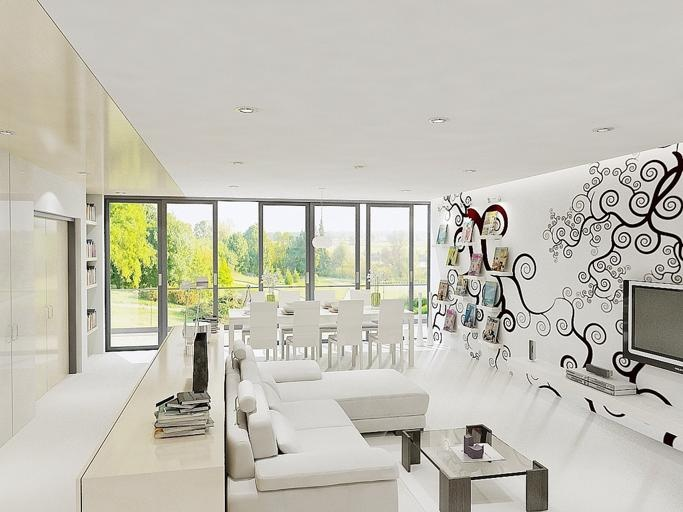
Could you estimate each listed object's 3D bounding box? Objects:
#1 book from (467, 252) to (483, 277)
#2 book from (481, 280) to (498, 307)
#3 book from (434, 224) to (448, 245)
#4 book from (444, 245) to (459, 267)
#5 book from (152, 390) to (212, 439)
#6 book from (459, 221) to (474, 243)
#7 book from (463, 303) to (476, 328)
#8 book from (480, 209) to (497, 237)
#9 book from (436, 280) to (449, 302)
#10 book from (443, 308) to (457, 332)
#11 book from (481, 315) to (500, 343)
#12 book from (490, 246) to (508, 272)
[{"bbox_3d":[1.997,0.142,7.822,0.045,0.497,0.333,8,-5,-22],"label":"book"},{"bbox_3d":[2.120,0.559,7.489,0.021,0.368,0.338,6,-6,-11],"label":"book"},{"bbox_3d":[1.704,-0.361,8.965,0.037,0.427,0.333,6,0,-13],"label":"book"},{"bbox_3d":[1.797,0.010,8.579,0.034,0.381,0.320,16,-4,-18],"label":"book"},{"bbox_3d":[-1.051,1.048,3.443,0.248,0.126,0.313,2,-1,-26],"label":"book"},{"bbox_3d":[1.945,-0.360,8.140,0.034,0.370,0.300,9,2,-14],"label":"book"},{"bbox_3d":[1.963,0.926,8.095,0.082,0.377,0.416,1,-1,-13],"label":"book"},{"bbox_3d":[2.118,-0.464,7.549,0.021,0.298,0.318,16,42,-9],"label":"book"},{"bbox_3d":[1.711,0.615,8.882,0.037,0.429,0.356,5,-3,-18],"label":"book"},{"bbox_3d":[1.788,1.074,8.695,0.093,0.398,0.403,2,-1,-14],"label":"book"},{"bbox_3d":[2.129,1.057,7.463,0.054,0.441,0.356,7,4,-14],"label":"book"},{"bbox_3d":[2.190,0.058,7.270,0.039,0.454,0.315,8,-1,-21],"label":"book"}]
